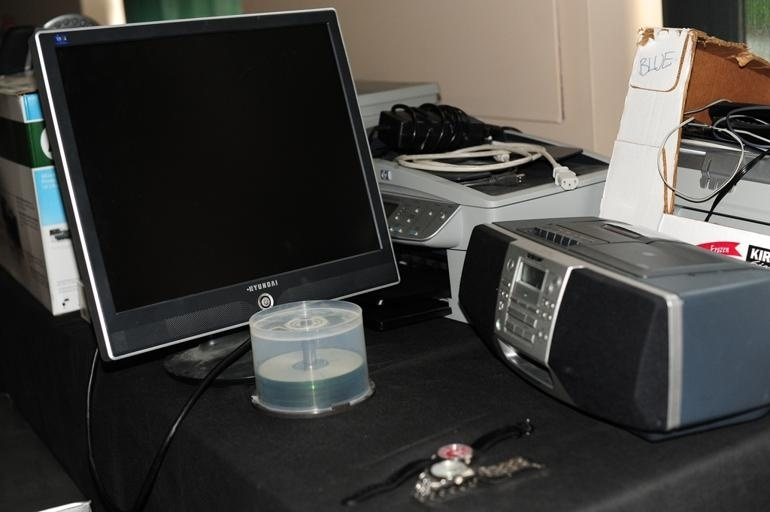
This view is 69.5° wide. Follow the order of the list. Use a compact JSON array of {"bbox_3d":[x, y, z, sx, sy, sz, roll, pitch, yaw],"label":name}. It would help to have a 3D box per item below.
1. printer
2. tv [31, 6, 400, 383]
[{"bbox_3d":[0.187,-0.124,1.158,0.386,0.305,0.488,-16,28,-31],"label":"printer"},{"bbox_3d":[-0.278,-0.079,0.891,0.679,0.520,0.253,-14,28,-22],"label":"tv"}]
